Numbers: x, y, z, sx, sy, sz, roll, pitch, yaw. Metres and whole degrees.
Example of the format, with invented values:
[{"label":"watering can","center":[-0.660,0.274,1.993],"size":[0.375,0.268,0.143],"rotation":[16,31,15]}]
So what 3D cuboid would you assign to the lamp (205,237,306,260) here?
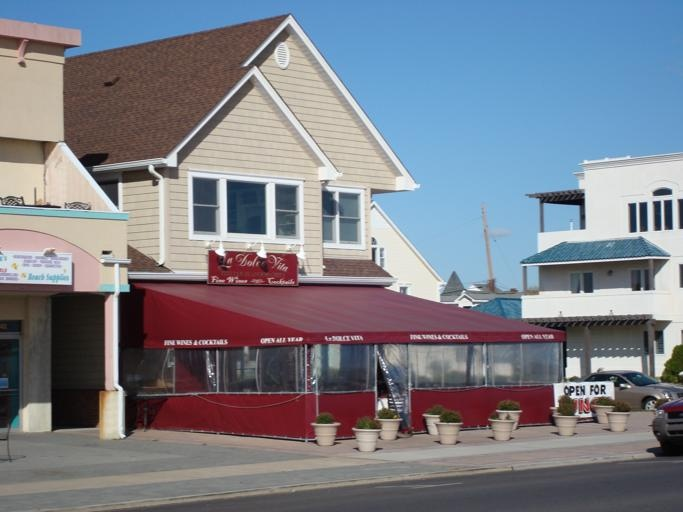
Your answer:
[{"label":"lamp","center":[-2.795,-0.262,49.262],"size":[3.817,0.576,0.558],"rotation":[3,-7,-37]}]
